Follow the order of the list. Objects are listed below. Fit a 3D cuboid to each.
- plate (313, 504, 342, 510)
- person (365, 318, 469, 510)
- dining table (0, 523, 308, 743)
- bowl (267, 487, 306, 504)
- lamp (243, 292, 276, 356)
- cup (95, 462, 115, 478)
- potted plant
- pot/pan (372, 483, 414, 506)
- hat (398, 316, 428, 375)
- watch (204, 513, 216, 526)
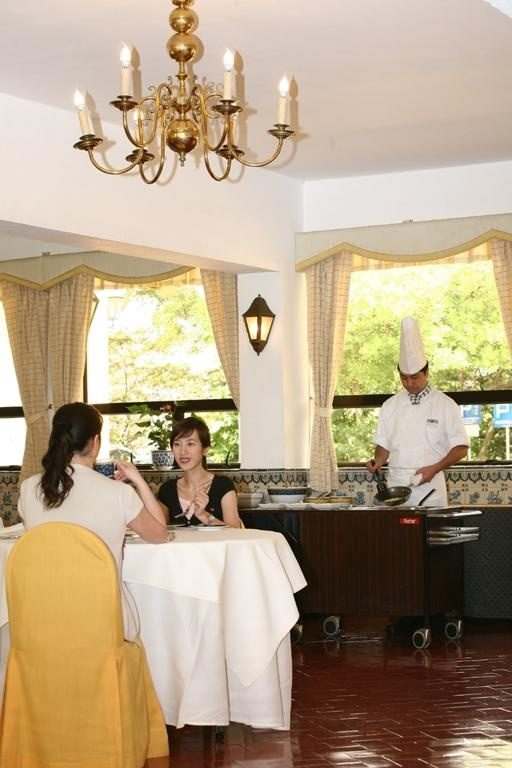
[{"bbox_3d":[0.464,0.798,4.395,0.198,0.037,0.142,-1,-11,0],"label":"plate"},{"bbox_3d":[1.066,0.190,4.493,0.631,1.255,0.526,-4,-12,16],"label":"person"},{"bbox_3d":[-0.337,0.745,2.287,0.882,0.450,0.821,-1,-3,4],"label":"dining table"},{"bbox_3d":[0.226,0.821,4.972,0.275,0.118,0.207,-1,-11,-1],"label":"bowl"},{"bbox_3d":[0.023,-0.511,5.624,0.243,0.508,0.199,5,-12,-27],"label":"lamp"},{"bbox_3d":[-0.494,0.273,2.184,0.057,0.040,0.057,1,3,0],"label":"cup"},{"bbox_3d":[-0.930,0.468,6.311,0.415,0.509,0.500,-10,-9,10],"label":"potted plant"},{"bbox_3d":[0.882,0.715,4.326,0.250,0.128,0.225,2,-12,-11],"label":"pot/pan"},{"bbox_3d":[1.028,-0.260,4.446,0.184,0.411,0.207,-3,-11,11],"label":"hat"},{"bbox_3d":[-0.195,0.591,2.918,0.047,0.052,0.036,-8,-7,35],"label":"watch"}]
